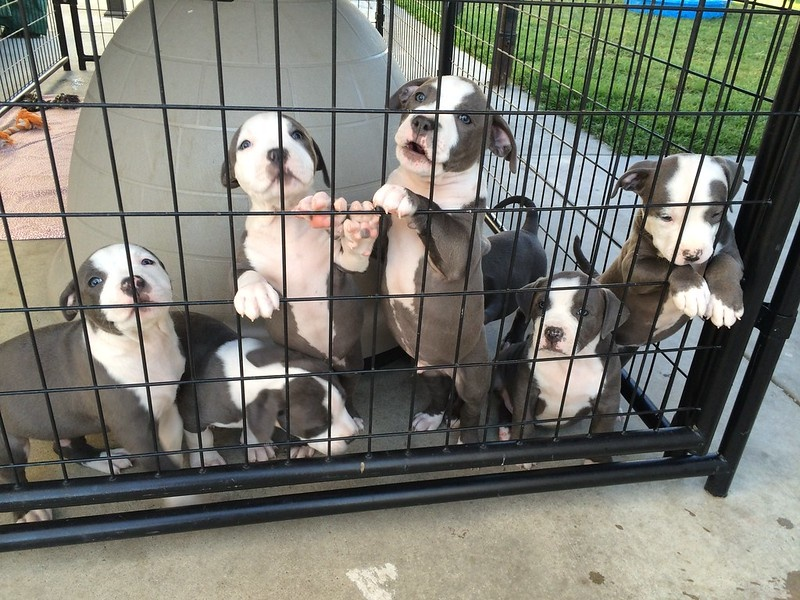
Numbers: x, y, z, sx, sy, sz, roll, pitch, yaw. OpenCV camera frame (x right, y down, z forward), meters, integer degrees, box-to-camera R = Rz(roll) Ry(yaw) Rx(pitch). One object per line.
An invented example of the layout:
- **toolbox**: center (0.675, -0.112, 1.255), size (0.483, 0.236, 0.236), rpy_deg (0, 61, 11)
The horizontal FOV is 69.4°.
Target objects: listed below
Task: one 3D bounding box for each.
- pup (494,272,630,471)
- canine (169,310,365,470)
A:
- **pup**: center (0.607, 0.242, 2.245), size (0.495, 0.670, 0.857), rpy_deg (-1, 7, 1)
- **canine**: center (-0.490, 0.319, 2.080), size (0.778, 0.388, 0.259), rpy_deg (27, 19, 18)
